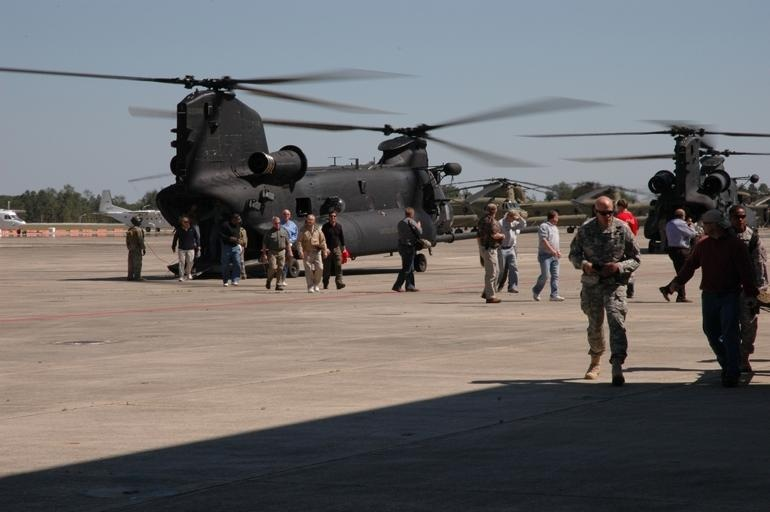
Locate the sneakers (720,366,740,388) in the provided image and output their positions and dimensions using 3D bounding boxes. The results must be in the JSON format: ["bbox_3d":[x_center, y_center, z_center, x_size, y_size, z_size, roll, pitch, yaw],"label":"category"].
[{"bbox_3d":[4.347,1.493,13.196,0.203,0.236,0.252,0,1,10],"label":"sneakers"}]

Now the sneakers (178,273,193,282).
[{"bbox_3d":[-6.186,0.658,32.541,0.195,0.172,0.484,-2,-5,2],"label":"sneakers"}]

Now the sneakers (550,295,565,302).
[{"bbox_3d":[3.883,0.931,23.693,0.128,0.113,0.337,-2,1,-42],"label":"sneakers"}]

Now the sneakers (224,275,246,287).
[{"bbox_3d":[-4.344,0.736,30.333,0.685,0.208,0.210,-7,4,-19],"label":"sneakers"}]

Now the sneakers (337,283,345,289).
[{"bbox_3d":[-1.180,0.778,28.163,0.162,0.148,0.268,0,2,20],"label":"sneakers"}]
